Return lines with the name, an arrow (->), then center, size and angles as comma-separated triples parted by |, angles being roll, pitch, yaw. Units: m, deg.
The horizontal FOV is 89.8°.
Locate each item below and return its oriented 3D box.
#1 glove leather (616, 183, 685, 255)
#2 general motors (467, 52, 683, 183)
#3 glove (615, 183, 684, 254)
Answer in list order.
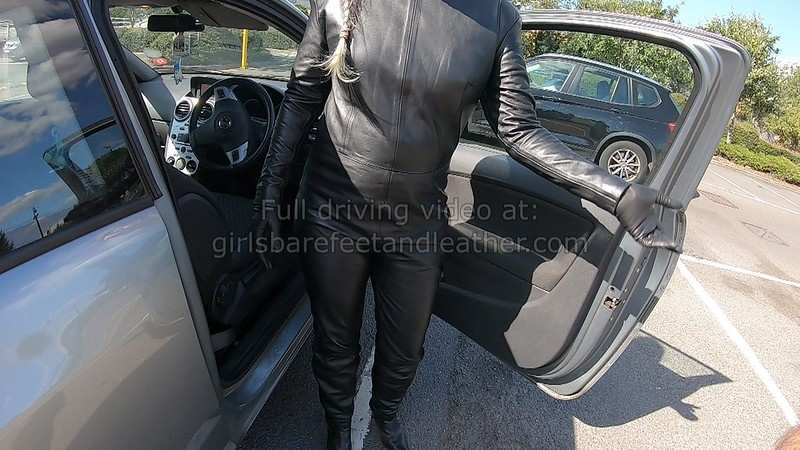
glove leather -> 1.105, -0.036, 1.758 | 0.290, 0.190, 0.092 | 26, 4, 1
general motors -> 0.852, -0.591, 2.163 | 0.923, 0.407, 0.537 | 21, 21, 9
glove -> 1.077, -0.023, 1.710 | 0.312, 0.231, 0.200 | -3, 32, -16
